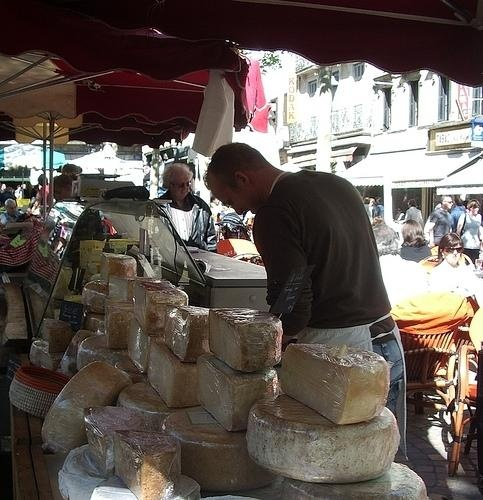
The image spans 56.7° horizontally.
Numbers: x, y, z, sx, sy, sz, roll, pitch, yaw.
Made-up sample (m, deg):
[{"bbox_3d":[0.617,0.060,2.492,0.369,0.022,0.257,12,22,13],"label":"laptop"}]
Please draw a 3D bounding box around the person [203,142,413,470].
[{"bbox_3d":[0.320,0.360,1.978,0.770,1.606,0.583,-2,17,13],"label":"person"}]
